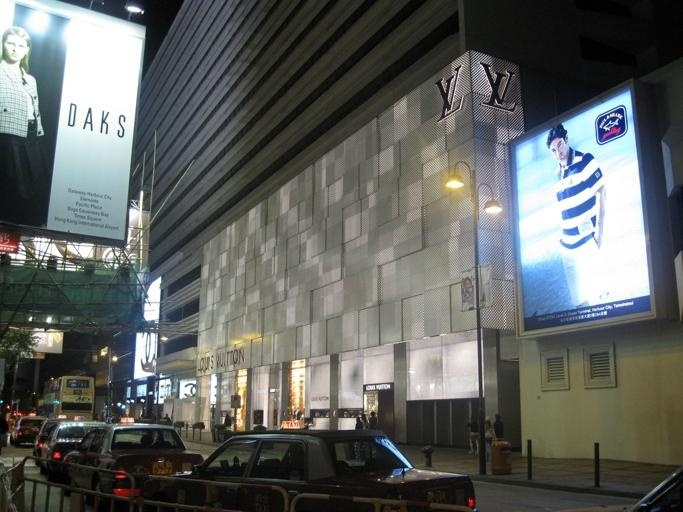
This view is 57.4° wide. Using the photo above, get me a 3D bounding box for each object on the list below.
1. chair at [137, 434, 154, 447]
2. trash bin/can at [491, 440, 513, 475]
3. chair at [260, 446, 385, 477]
[{"bbox_3d":[-4.825,4.528,15.477,0.382,0.318,0.559,4,-9,-13],"label":"chair"},{"bbox_3d":[5.208,6.575,20.336,0.679,1.045,0.666,9,-15,-37],"label":"trash bin/can"},{"bbox_3d":[-0.408,3.516,10.731,1.540,0.486,0.929,-9,-16,31],"label":"chair"}]
